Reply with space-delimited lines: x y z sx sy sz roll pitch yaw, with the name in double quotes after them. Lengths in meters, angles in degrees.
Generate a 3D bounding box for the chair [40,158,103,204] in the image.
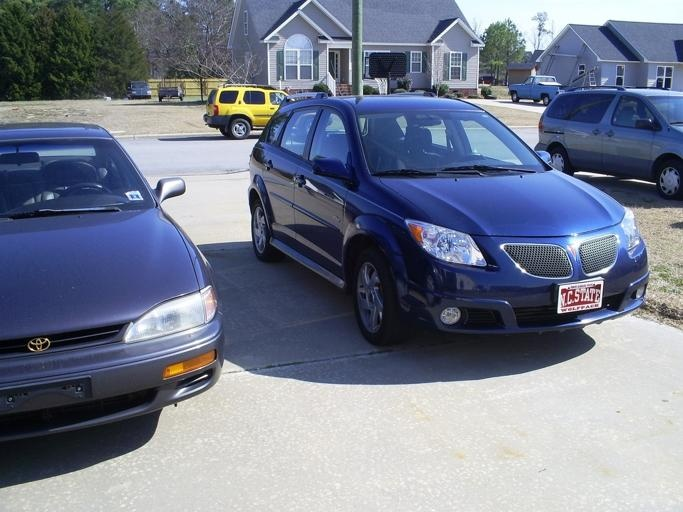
-2.309 -0.664 4.616 0.321 0.253 0.536 -9 26 -22 "chair"

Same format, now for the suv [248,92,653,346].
0.677 -0.591 5.536 2.133 1.700 3.900 -7 19 -28 "suv"

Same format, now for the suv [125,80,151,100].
-19.825 -16.168 53.108 1.500 1.364 2.547 -8 17 -25 "suv"
